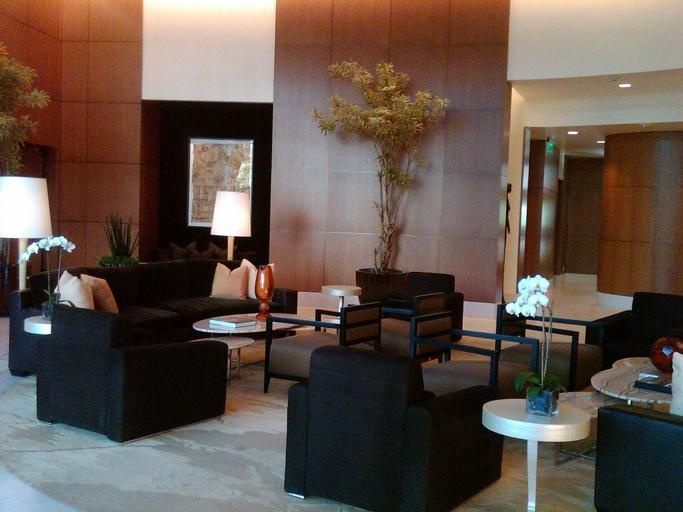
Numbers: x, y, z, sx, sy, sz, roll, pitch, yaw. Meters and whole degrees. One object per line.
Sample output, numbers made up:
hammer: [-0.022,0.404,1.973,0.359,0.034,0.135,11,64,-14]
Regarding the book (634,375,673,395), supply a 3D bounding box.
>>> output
book: [2.157,0.872,4.002,0.218,0.088,0.429,4,4,28]
